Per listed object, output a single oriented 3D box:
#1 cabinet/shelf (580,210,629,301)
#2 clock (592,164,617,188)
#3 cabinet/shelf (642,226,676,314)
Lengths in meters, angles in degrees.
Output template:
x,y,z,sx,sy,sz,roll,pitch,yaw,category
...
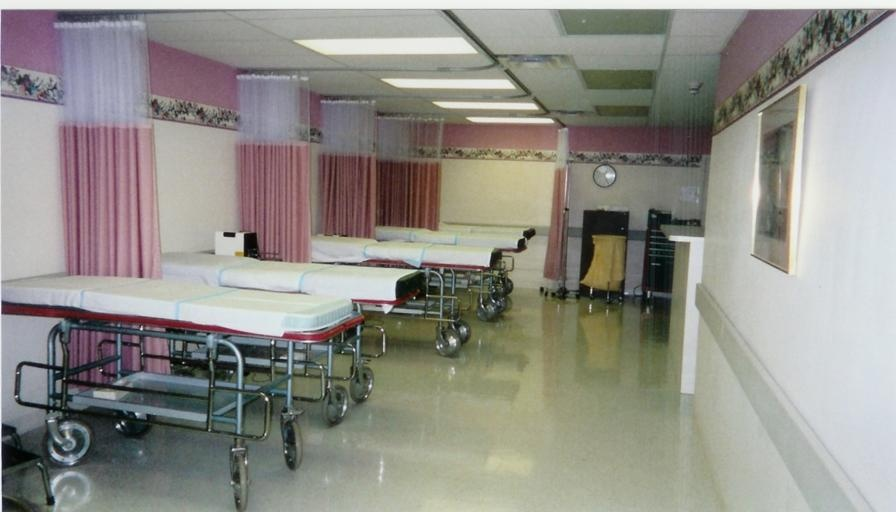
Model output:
x,y,z,sx,sy,sz,roll,pitch,yaw,category
2.938,-0.061,11.744,0.839,1.669,0.732,4,6,10,cabinet/shelf
3.107,-1.606,12.236,0.576,0.476,0.057,0,9,19,clock
3.907,0.187,11.518,0.525,1.410,0.990,5,6,16,cabinet/shelf
